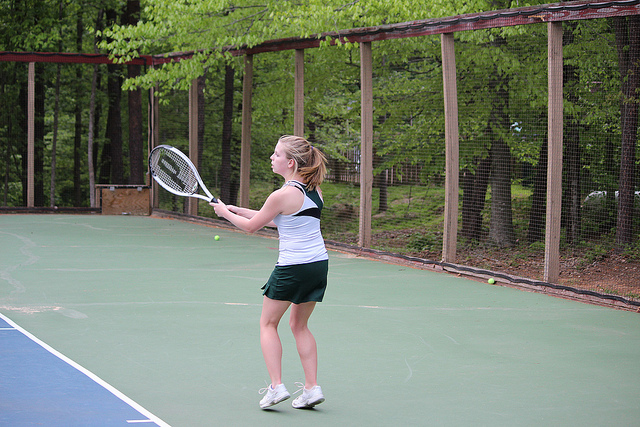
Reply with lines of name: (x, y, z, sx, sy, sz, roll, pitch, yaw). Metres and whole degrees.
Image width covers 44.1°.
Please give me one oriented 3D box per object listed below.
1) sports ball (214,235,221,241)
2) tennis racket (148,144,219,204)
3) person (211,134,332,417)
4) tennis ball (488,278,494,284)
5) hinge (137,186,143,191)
sports ball: (-2.581, 0.606, 19.851, 0.124, 0.116, 0.145, -18, -14, 10)
tennis racket: (-2.124, -0.512, 12.283, 0.109, 0.580, 2.314, 8, 16, -36)
person: (-0.473, 0.837, 10.794, 1.137, 3.750, 0.778, 1, 9, -5)
tennis ball: (3.432, 1.345, 15.878, 0.114, 0.097, 0.135, 3, 9, 12)
hinge: (-5.533, -0.782, 24.353, 0.126, 0.111, 0.029, 2, -2, -8)
